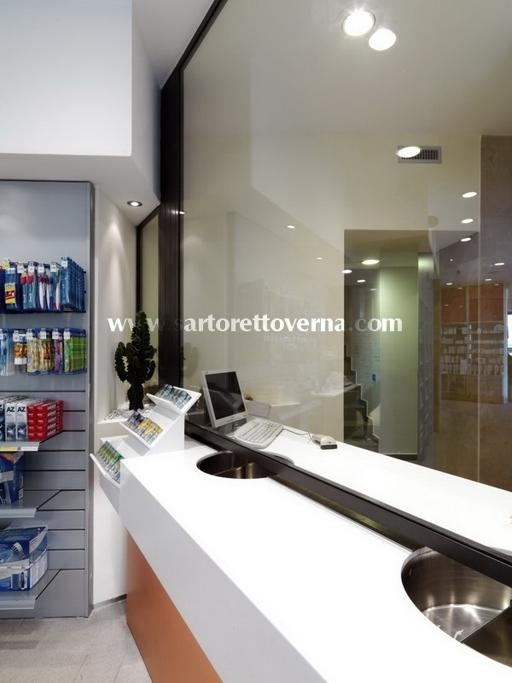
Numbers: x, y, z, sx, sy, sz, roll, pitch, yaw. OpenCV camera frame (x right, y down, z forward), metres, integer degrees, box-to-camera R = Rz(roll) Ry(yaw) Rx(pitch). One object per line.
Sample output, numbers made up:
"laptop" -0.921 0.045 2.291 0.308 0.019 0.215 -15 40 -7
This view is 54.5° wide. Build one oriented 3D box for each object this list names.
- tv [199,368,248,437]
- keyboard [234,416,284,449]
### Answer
"tv" -0.115 0.221 1.846 0.023 0.268 0.167 0 -20 -41
"keyboard" -0.001 0.300 1.649 0.022 0.117 0.346 -2 4 -26
